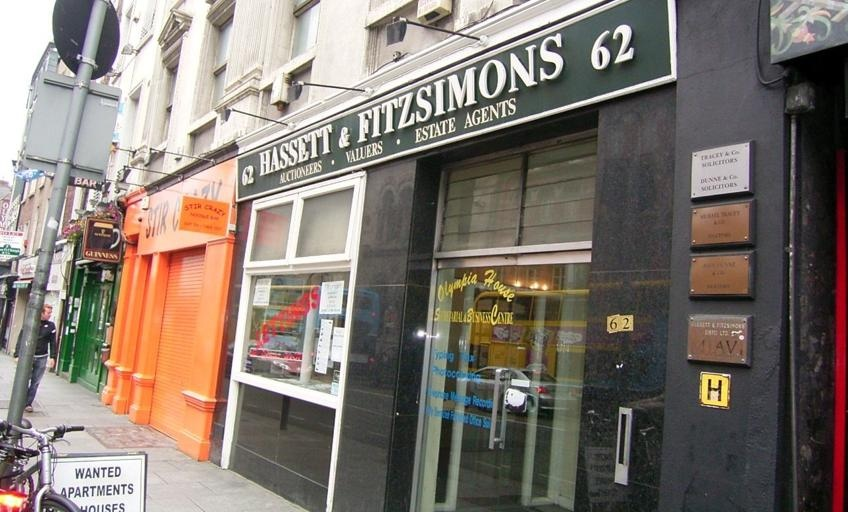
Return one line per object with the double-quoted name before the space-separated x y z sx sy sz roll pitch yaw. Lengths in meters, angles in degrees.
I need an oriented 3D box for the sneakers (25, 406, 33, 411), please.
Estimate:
"sneakers" -7.622 2.951 11.773 0.069 0.073 0.186 5 -14 -41
